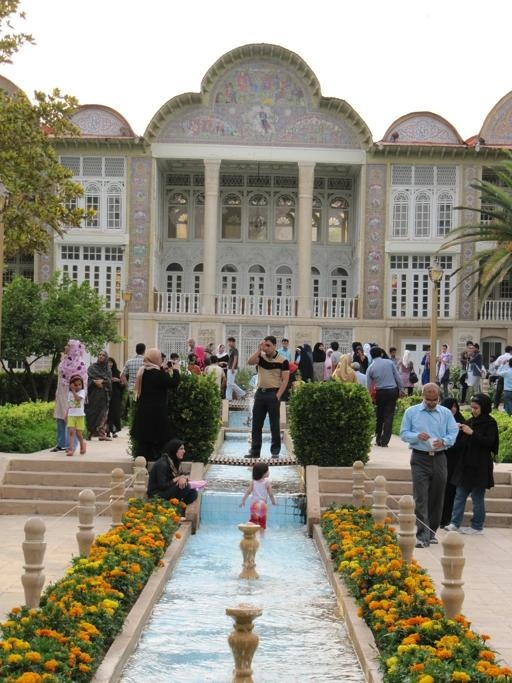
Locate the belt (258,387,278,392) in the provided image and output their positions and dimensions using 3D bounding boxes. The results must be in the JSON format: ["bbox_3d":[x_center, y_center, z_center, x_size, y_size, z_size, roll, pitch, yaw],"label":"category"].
[{"bbox_3d":[0.170,0.681,11.918,0.309,0.062,0.114,1,2,8],"label":"belt"}]

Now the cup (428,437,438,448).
[{"bbox_3d":[1.762,1.014,8.413,0.083,0.083,0.075,1,-2,-3],"label":"cup"}]

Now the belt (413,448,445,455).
[{"bbox_3d":[1.759,1.127,8.600,0.305,0.060,0.187,1,2,1],"label":"belt"}]

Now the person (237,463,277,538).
[{"bbox_3d":[0.020,1.763,9.468,0.370,0.872,1.025,1,2,1],"label":"person"}]

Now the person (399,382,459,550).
[{"bbox_3d":[1.774,1.291,8.660,0.503,1.696,0.554,3,3,36],"label":"person"}]
